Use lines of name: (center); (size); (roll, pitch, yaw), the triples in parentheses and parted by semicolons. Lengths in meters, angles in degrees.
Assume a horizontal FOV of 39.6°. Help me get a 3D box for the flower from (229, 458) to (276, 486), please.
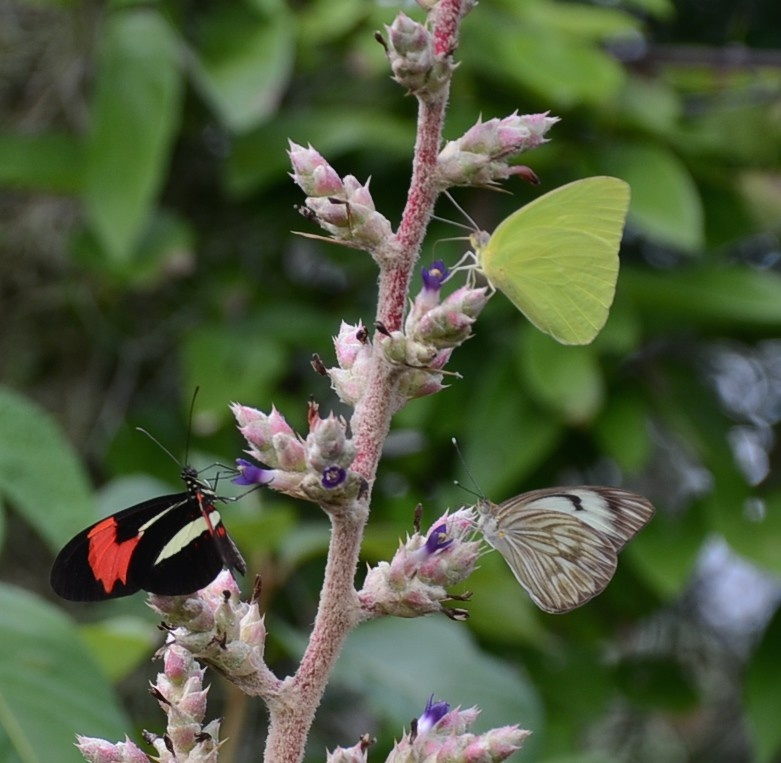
flower: (-0.323, 0.213, 2.519); (0.104, 0.045, 0.052); (11, 57, -3)

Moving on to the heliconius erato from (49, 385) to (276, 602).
heliconius erato: (-0.528, 0.326, 2.486); (0.219, 0.346, 0.354); (35, 109, 29)

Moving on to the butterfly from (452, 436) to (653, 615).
butterfly: (0.523, 0.451, 3.338); (0.393, 0.420, 0.389); (34, 68, 25)

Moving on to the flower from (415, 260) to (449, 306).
flower: (0.102, -0.234, 2.575); (0.080, 0.095, 0.135); (-1, 57, 7)

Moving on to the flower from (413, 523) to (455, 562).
flower: (0.106, 0.379, 2.562); (0.089, 0.034, 0.059); (-43, 69, 11)

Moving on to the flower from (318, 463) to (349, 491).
flower: (-0.125, 0.205, 2.365); (0.058, 0.044, 0.033); (-19, 57, -5)
